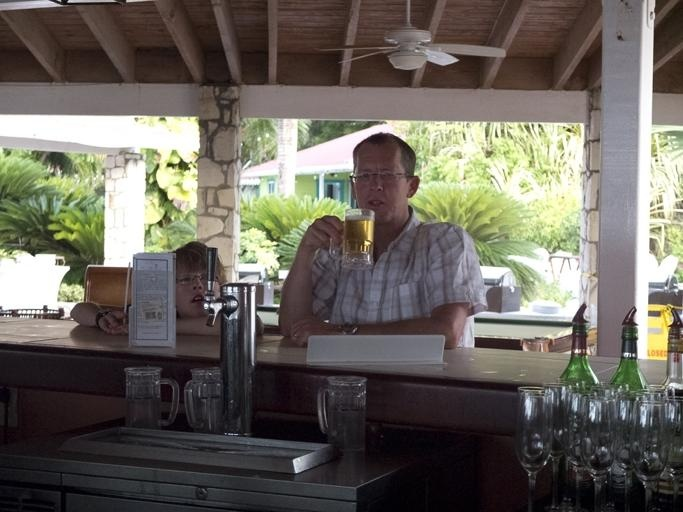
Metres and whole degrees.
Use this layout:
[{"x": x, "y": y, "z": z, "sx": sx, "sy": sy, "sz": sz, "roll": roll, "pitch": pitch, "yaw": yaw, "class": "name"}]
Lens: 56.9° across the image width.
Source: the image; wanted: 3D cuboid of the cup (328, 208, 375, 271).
[{"x": 0.049, "y": -0.055, "z": 1.934, "sx": 0.093, "sy": 0.176, "sz": 0.143, "roll": 0, "pitch": -5, "yaw": 0, "class": "cup"}]

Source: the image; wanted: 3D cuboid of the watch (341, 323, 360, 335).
[{"x": 0.032, "y": 0.249, "z": 2.172, "sx": 0.059, "sy": 0.026, "sz": 0.057, "roll": 0, "pitch": -4, "yaw": -1, "class": "watch"}]

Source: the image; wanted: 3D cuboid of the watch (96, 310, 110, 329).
[{"x": -0.886, "y": 0.225, "z": 2.340, "sx": 0.058, "sy": 0.073, "sz": 0.029, "roll": -4, "pitch": 6, "yaw": -37, "class": "watch"}]

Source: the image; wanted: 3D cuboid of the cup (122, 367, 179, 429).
[{"x": -0.490, "y": 0.385, "z": 1.675, "sx": 0.161, "sy": 0.154, "sz": 0.098, "roll": -4, "pitch": -6, "yaw": 27, "class": "cup"}]

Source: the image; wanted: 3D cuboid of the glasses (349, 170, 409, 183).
[{"x": 0.143, "y": -0.306, "z": 2.470, "sx": 0.221, "sy": 0.048, "sz": 0.092, "roll": -1, "pitch": -4, "yaw": 11, "class": "glasses"}]

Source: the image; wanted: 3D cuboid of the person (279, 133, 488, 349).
[{"x": 0.170, "y": -0.076, "z": 2.416, "sx": 0.809, "sy": 0.864, "sz": 0.623, "roll": 0, "pitch": -5, "yaw": -6, "class": "person"}]

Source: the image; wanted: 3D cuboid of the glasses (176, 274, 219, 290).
[{"x": -0.539, "y": 0.087, "z": 2.266, "sx": 0.101, "sy": 0.053, "sz": 0.034, "roll": 1, "pitch": -5, "yaw": -14, "class": "glasses"}]

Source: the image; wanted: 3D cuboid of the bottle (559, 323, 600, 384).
[{"x": 0.532, "y": 0.215, "z": 1.422, "sx": 0.080, "sy": 0.138, "sz": 0.174, "roll": -2, "pitch": -5, "yaw": 21, "class": "bottle"}]

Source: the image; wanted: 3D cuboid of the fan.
[{"x": 0.643, "y": -2.009, "z": 5.627, "sx": 0.915, "sy": 0.426, "sz": 1.005, "roll": -3, "pitch": 10, "yaw": -4, "class": "fan"}]

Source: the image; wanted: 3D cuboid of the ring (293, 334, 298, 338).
[{"x": -0.150, "y": 0.266, "z": 2.104, "sx": 0.023, "sy": 0.009, "sz": 0.002, "roll": -4, "pitch": -6, "yaw": 41, "class": "ring"}]
